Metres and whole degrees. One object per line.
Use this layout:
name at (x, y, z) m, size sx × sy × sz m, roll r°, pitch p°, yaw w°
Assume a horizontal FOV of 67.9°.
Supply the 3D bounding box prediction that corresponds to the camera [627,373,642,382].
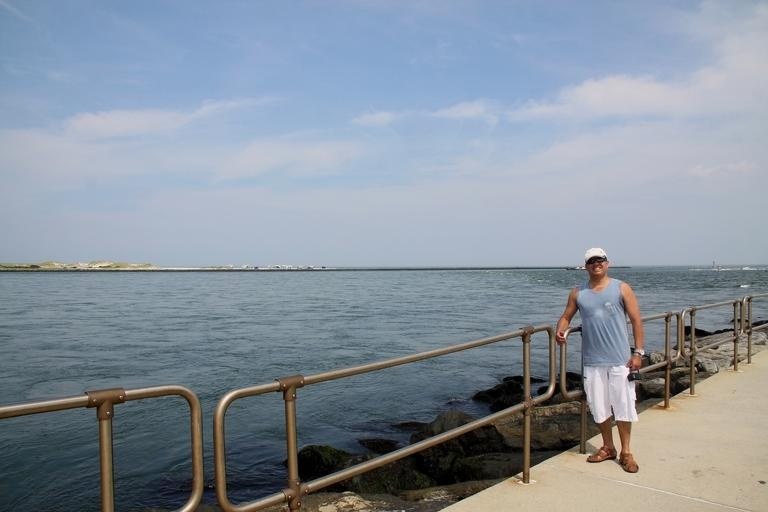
camera at (3.138, 1.525, 7.173) m, size 0.123 × 0.055 × 0.147 m, roll 2°, pitch -3°, yaw -39°

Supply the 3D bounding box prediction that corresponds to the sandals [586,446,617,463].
sandals at (2.884, 2.641, 7.602) m, size 0.442 × 0.140 × 0.165 m, roll 2°, pitch -8°, yaw -18°

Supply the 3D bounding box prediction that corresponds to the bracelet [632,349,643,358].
bracelet at (3.231, 1.235, 7.245) m, size 0.100 × 0.050 × 0.101 m, roll 2°, pitch 1°, yaw 42°

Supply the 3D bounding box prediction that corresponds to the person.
person at (2.824, 1.325, 7.396) m, size 0.966 × 2.833 × 0.396 m, roll -2°, pitch 2°, yaw 17°

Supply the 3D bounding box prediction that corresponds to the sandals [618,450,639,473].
sandals at (3.152, 2.628, 7.321) m, size 0.249 × 0.215 × 0.256 m, roll -2°, pitch 1°, yaw 1°
